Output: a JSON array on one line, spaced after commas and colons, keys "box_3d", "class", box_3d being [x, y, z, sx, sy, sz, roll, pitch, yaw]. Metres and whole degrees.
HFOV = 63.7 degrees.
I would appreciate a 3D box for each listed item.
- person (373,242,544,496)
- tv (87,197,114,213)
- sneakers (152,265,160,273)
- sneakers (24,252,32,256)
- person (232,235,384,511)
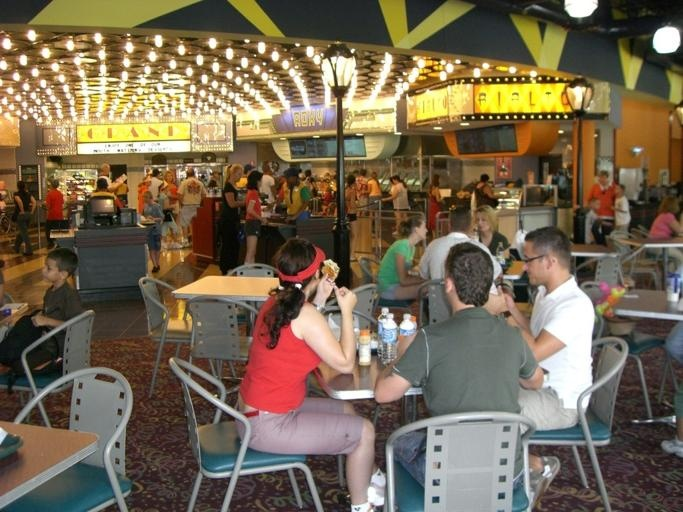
[{"box_3d": [0.548, 0.520, 2.559, 0.779, 1.139, 0.488, 2, 6, 11], "class": "person"}, {"box_3d": [-3.869, -0.824, 8.838, 0.436, 0.306, 0.231, -1, 8, -8], "class": "tv"}, {"box_3d": [-3.807, 0.262, 11.241, 0.081, 0.168, 0.234, -3, 15, -28], "class": "sneakers"}, {"box_3d": [-7.780, -0.053, 13.585, 0.226, 0.102, 0.083, -1, 8, 8], "class": "sneakers"}, {"box_3d": [-0.149, 0.649, 2.938, 0.788, 1.456, 0.409, -1, 6, -11], "class": "person"}]
